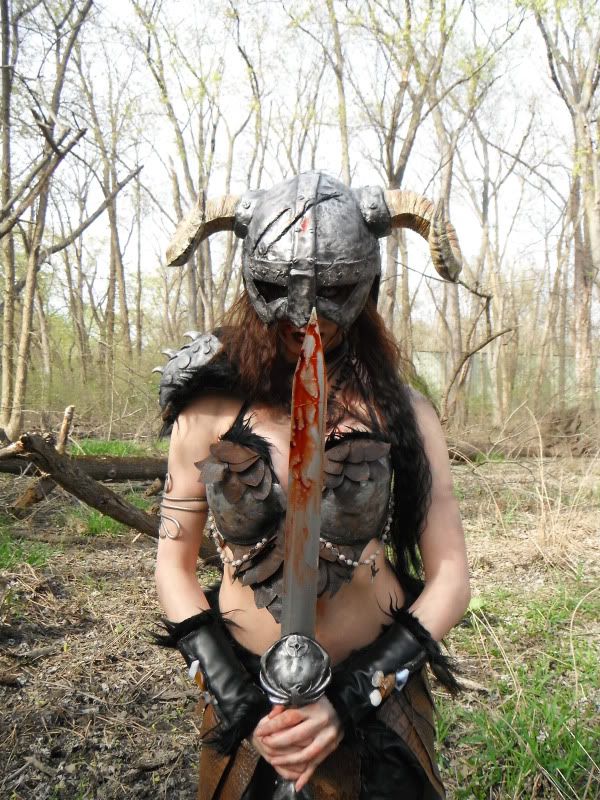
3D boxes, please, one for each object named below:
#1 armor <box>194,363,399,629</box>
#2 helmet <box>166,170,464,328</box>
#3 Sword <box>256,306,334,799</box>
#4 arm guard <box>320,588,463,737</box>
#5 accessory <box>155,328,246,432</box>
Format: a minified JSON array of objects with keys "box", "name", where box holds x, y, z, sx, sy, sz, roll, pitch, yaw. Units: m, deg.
[{"box":[0.004,0.271,1.901,0.661,0.610,0.429,2,-24,-4],"name":"armor"},{"box":[0.027,-0.385,1.835,0.800,0.364,0.409,0,17,1],"name":"helmet"},{"box":[0.007,0.233,1.436,0.165,0.802,0.103,-4,-4,42],"name":"Sword"},{"box":[0.148,0.661,1.643,0.319,0.156,0.134,-18,-21,-33],"name":"arm guard"},{"box":[-0.295,-0.078,1.939,0.242,0.105,0.262,25,-59,-33],"name":"accessory"}]
